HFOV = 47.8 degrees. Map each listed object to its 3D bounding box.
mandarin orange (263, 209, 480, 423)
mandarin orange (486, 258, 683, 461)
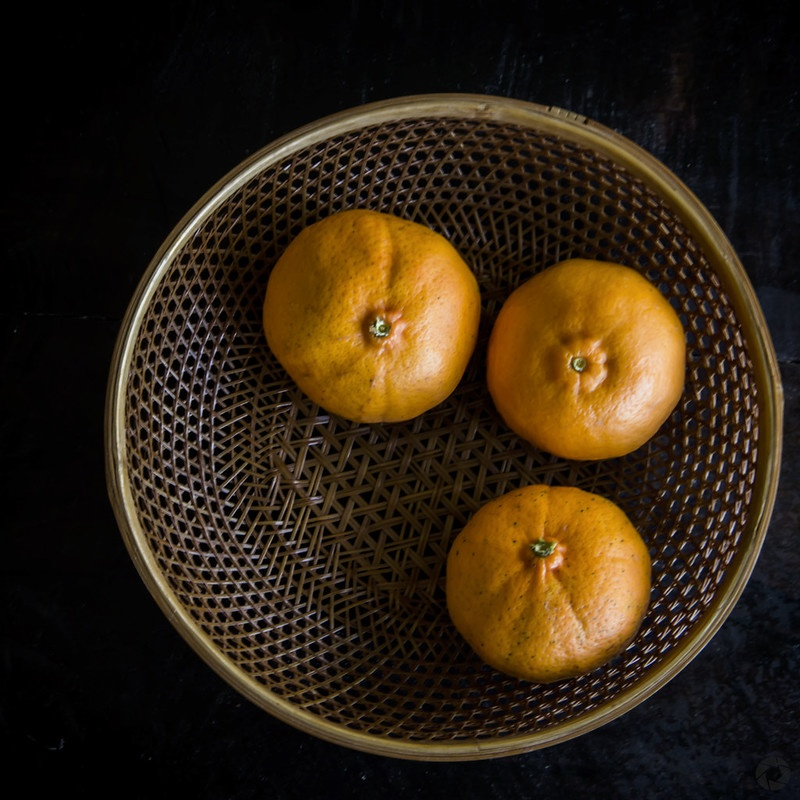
[{"bbox_3d":[-0.024,-0.053,0.757,0.210,0.109,0.183,-5,87,0],"label":"mandarin orange"},{"bbox_3d":[0.170,-0.039,0.828,0.180,0.078,0.181,9,83,4],"label":"mandarin orange"}]
